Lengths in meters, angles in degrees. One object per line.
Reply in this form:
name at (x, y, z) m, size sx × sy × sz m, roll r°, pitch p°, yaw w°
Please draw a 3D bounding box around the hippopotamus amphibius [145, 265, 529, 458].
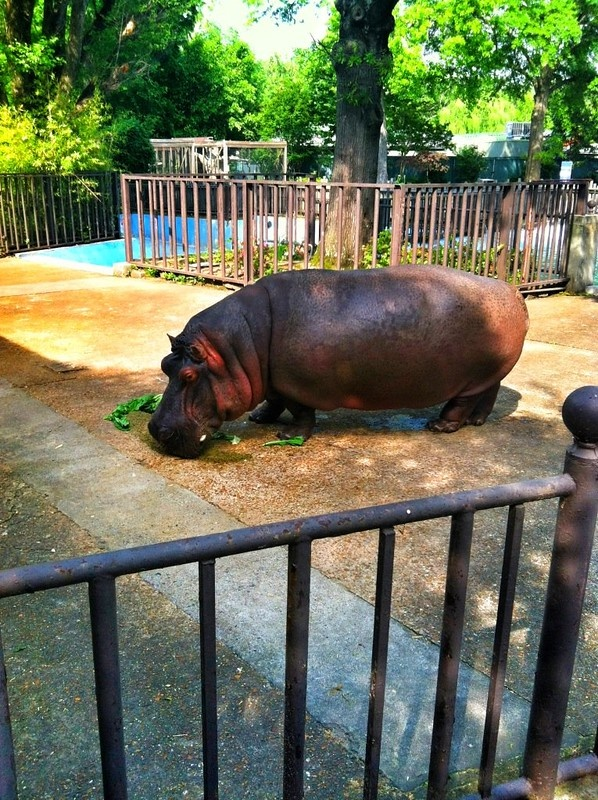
hippopotamus amphibius at (0.364, -0.361, 4.796) m, size 2.867 × 1.322 × 1.041 m, roll -5°, pitch 26°, yaw -5°
